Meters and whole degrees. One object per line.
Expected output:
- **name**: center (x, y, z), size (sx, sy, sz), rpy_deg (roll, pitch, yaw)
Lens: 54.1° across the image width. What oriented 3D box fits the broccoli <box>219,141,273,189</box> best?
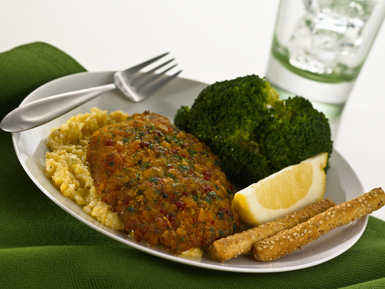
- **broccoli**: center (0.394, 0.150, 2.906), size (0.322, 0.326, 0.425), rpy_deg (-13, 20, -31)
